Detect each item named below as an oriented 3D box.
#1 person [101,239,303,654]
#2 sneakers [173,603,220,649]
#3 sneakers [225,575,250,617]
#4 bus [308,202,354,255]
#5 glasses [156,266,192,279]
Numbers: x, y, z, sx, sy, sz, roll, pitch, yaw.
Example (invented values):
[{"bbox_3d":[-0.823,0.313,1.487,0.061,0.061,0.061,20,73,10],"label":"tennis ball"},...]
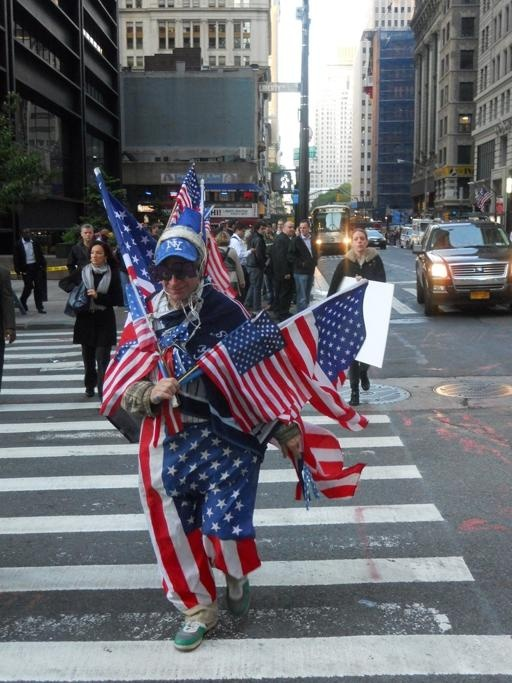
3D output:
[{"bbox_3d":[-0.242,0.418,3.094,0.656,1.690,0.419,-4,7,-15],"label":"person"},{"bbox_3d":[-0.244,1.162,3.107,0.093,0.093,0.250,3,8,17],"label":"sneakers"},{"bbox_3d":[-0.080,1.121,3.302,0.092,0.140,0.223,-3,-3,2],"label":"sneakers"},{"bbox_3d":[4.970,-7.311,49.245,3.121,3.729,8.746,0,3,4],"label":"bus"},{"bbox_3d":[-0.321,-0.276,3.026,0.152,0.058,0.063,-2,6,-5],"label":"glasses"}]
